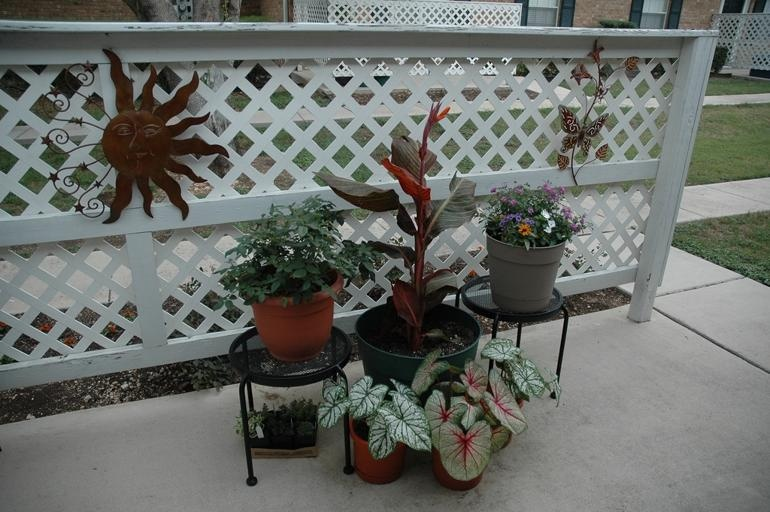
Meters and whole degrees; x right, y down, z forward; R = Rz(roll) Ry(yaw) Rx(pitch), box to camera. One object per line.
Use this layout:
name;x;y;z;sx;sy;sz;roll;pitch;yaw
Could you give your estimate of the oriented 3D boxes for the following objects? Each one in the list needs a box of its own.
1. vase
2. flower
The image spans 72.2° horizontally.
vase;0.868;0.080;3.506;0.472;0.415;0.499;-6;13;-41
flower;0.894;-0.304;3.439;0.519;0.209;0.518;-10;37;-11
